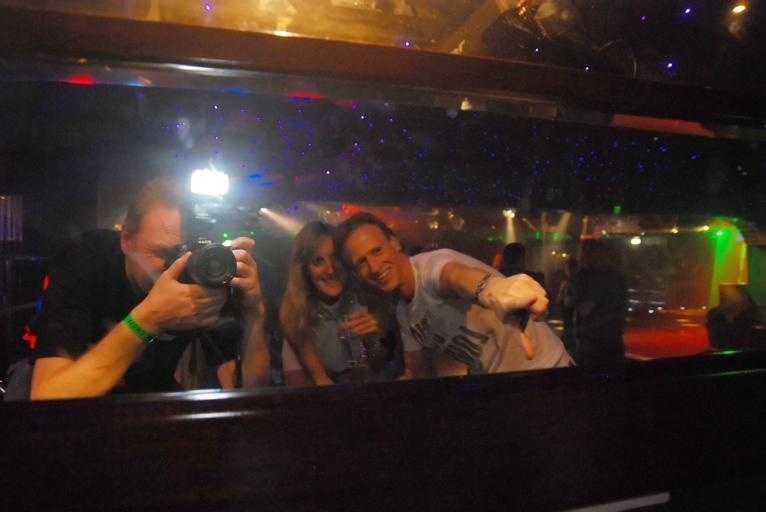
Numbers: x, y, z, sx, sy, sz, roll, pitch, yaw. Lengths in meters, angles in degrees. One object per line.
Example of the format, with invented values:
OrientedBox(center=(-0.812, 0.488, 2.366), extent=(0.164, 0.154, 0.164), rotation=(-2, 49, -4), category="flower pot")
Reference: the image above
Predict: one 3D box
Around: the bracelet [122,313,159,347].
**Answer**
OrientedBox(center=(-0.840, 0.256, 2.111), extent=(0.104, 0.041, 0.104), rotation=(39, -11, 2), category="bracelet")

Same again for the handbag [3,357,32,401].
OrientedBox(center=(-1.204, 0.410, 2.002), extent=(0.092, 0.130, 0.036), rotation=(3, 1, 2), category="handbag")

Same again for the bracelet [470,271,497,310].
OrientedBox(center=(0.361, 0.117, 2.151), extent=(0.068, 0.093, 0.027), rotation=(3, 1, 11), category="bracelet")
